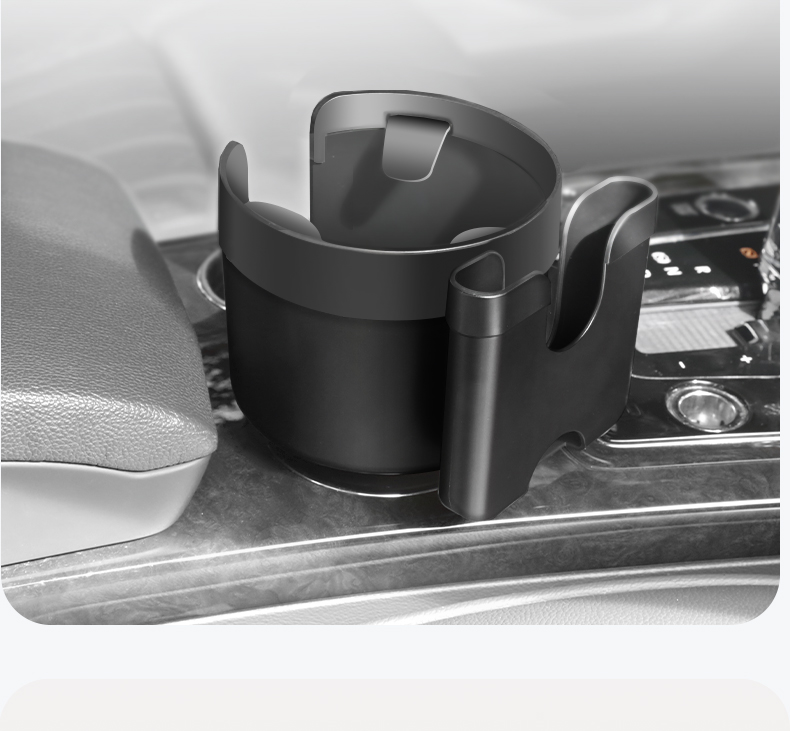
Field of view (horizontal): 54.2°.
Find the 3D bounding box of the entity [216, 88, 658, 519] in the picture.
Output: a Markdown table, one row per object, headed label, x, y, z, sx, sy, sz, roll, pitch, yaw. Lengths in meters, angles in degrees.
| label | x | y | z | sx | sy | sz | roll | pitch | yaw |
| --- | --- | --- | --- | --- | --- | --- | --- | --- | --- |
| entity | 0.025 | -0.071 | 0.613 | 0.295 | 0.189 | 0.227 | 29 | 56 | 30 |
